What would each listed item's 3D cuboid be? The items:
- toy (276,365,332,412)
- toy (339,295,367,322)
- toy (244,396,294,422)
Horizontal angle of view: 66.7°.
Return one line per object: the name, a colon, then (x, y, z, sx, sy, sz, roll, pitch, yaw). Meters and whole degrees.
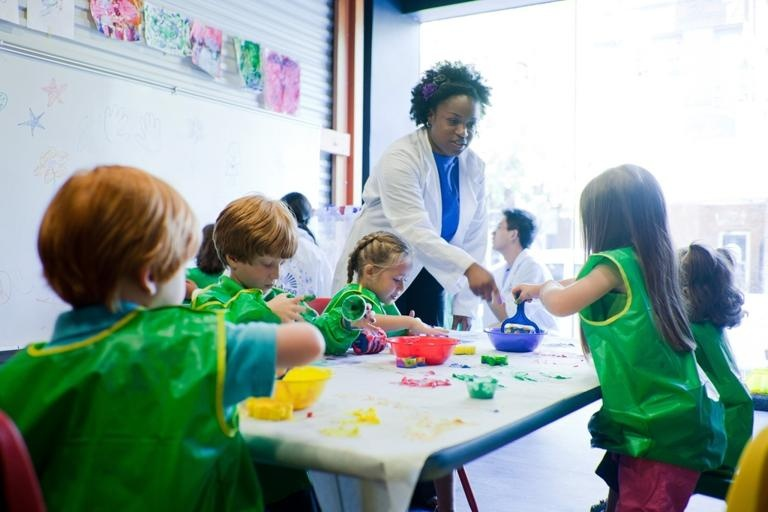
toy: (-0.193, 0.309, 1.417, 0.109, 0.042, 0.110, -3, -3, 6)
toy: (-0.099, 0.172, 1.883, 0.083, 0.073, 0.058, -5, -6, 26)
toy: (-0.268, 0.337, 1.357, 0.080, 0.024, 0.080, 3, 1, 14)
